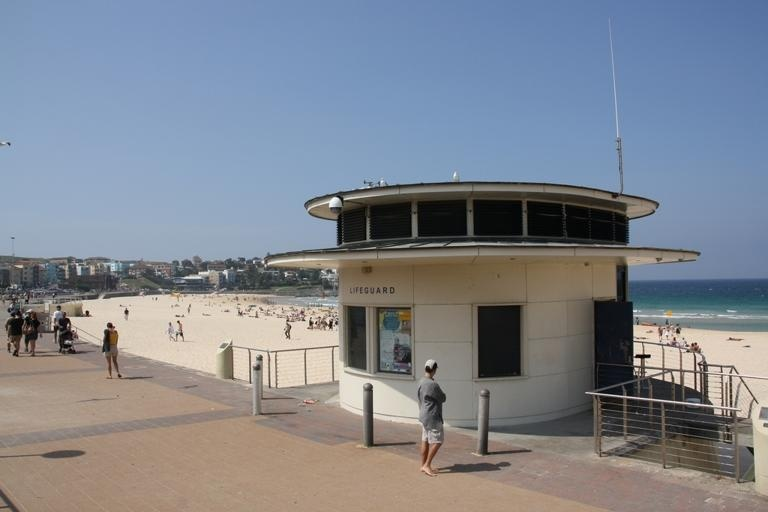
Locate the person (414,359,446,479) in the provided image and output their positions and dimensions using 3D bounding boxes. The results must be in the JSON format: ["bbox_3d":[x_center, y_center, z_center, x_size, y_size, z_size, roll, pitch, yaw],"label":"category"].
[{"bbox_3d":[0.994,3.540,14.335,0.536,1.953,0.547,1,-1,-26],"label":"person"}]

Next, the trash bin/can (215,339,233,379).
[{"bbox_3d":[-5.096,3.345,21.965,0.525,1.184,0.602,0,-1,-14],"label":"trash bin/can"}]

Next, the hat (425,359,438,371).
[{"bbox_3d":[1.018,2.317,14.553,0.184,0.141,0.264,4,9,24],"label":"hat"}]

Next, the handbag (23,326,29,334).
[{"bbox_3d":[-13.718,2.827,26.139,0.378,0.376,0.172,-1,-1,40],"label":"handbag"}]

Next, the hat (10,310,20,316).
[{"bbox_3d":[-13.842,2.165,25.698,0.299,0.129,0.350,0,0,-34],"label":"hat"}]
